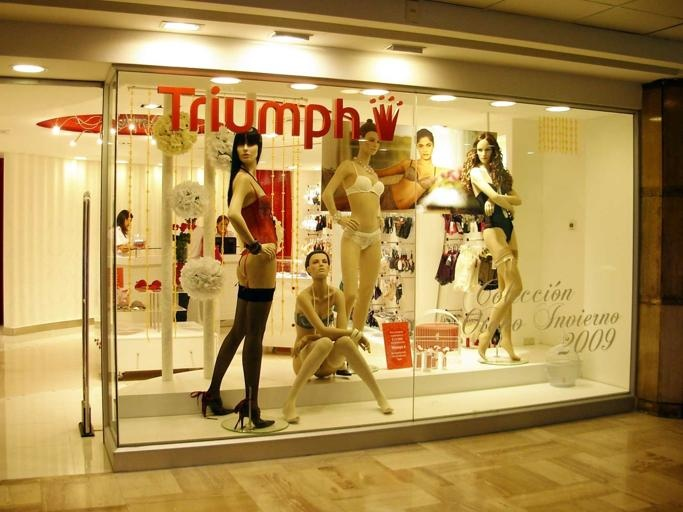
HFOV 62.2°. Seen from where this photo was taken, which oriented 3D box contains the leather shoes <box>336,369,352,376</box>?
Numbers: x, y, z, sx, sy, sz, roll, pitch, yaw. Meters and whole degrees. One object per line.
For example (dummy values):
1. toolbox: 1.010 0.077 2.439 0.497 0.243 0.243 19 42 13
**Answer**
1. leather shoes: 0.020 0.954 4.609 0.136 0.059 0.047 -1 -3 -5
